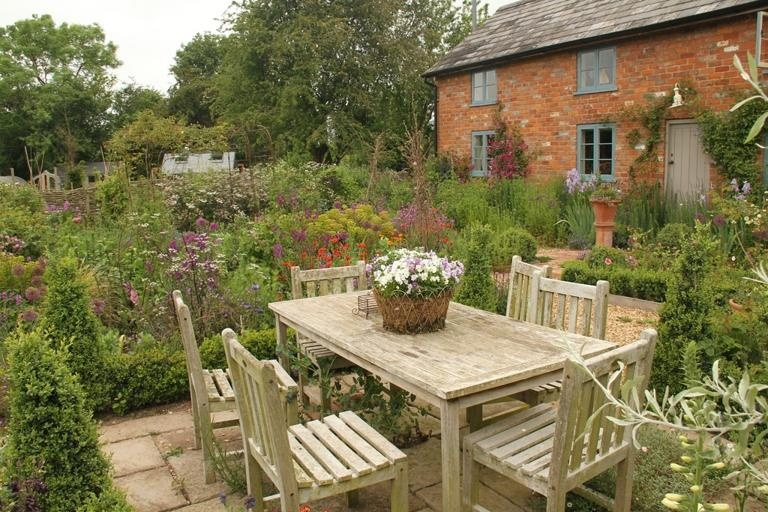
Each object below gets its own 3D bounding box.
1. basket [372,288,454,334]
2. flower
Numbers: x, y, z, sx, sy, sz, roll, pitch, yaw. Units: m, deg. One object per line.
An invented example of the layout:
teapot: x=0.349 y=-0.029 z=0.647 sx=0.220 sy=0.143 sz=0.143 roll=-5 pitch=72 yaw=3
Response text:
basket: x=0.258 y=0.465 z=5.441 sx=0.729 sy=0.405 sz=0.732 roll=-1 pitch=4 yaw=-33
flower: x=0.281 y=0.128 z=5.155 sx=0.484 sy=0.272 sz=0.513 roll=10 pitch=15 yaw=40
